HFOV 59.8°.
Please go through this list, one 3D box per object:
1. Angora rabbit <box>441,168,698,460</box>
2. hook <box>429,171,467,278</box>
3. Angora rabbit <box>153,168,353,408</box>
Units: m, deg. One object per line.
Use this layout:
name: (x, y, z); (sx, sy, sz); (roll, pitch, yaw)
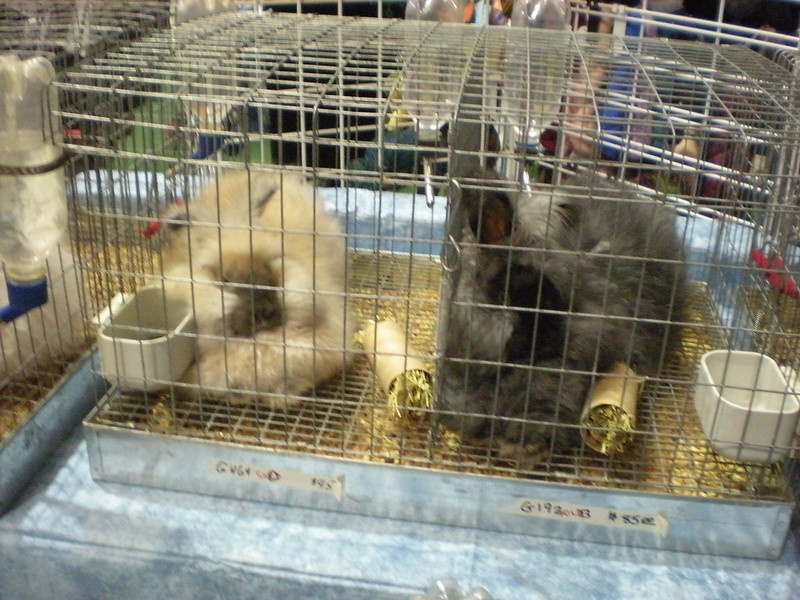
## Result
Angora rabbit: (0.276, 0.037, 1.180); (0.207, 0.359, 0.332); (25, -16, 32)
hook: (0.081, -0.118, 1.082); (0.037, 0.156, 0.039); (3, 15, 10)
Angora rabbit: (-0.241, -0.032, 1.384); (0.320, 0.381, 0.506); (-3, 49, -6)
